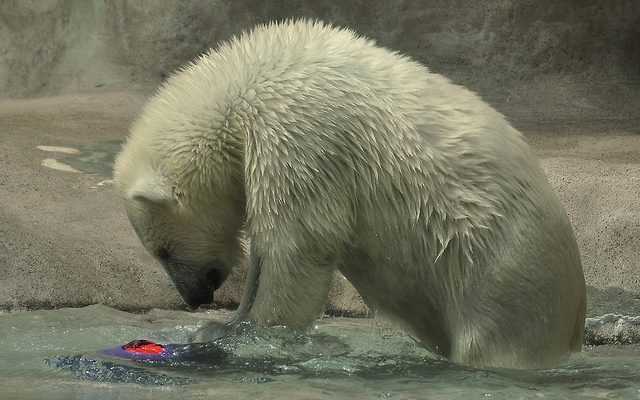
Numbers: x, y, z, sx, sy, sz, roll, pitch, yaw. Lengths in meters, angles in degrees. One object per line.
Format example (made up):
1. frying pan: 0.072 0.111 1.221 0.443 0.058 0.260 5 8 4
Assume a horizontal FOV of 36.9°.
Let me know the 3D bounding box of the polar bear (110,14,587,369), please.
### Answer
1. polar bear: 0.320 -0.049 8.925 4.102 3.097 0.828 2 15 8
